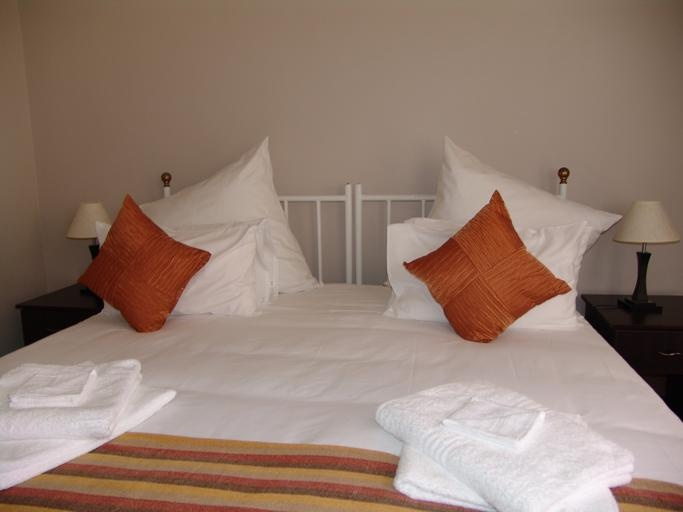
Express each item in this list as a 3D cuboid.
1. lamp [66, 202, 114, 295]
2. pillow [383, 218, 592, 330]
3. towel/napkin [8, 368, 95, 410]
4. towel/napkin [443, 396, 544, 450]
[{"bbox_3d":[-1.468,-0.030,2.750,0.280,0.533,0.290,-3,2,-11],"label":"lamp"},{"bbox_3d":[0.542,0.096,2.189,0.599,0.185,0.593,6,61,19],"label":"pillow"},{"bbox_3d":[-0.810,0.374,1.296,0.113,0.031,0.117,-2,13,-5],"label":"towel/napkin"},{"bbox_3d":[0.373,0.397,1.117,0.119,0.038,0.121,5,10,33],"label":"towel/napkin"}]
